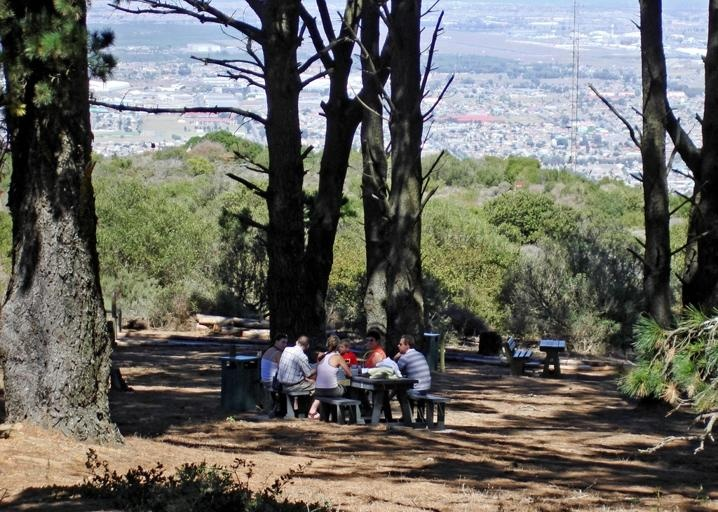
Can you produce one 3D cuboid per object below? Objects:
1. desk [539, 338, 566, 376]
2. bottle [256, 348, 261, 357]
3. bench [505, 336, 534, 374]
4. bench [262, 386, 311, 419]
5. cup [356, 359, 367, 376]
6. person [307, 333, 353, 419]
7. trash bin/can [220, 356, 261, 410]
[{"bbox_3d":[5.440,2.824,36.195,0.617,1.040,2.257,3,5,9],"label":"desk"},{"bbox_3d":[-2.482,2.366,31.003,0.148,0.289,0.159,1,5,0],"label":"bottle"},{"bbox_3d":[4.383,2.784,35.542,0.717,0.996,0.696,2,5,-3],"label":"bench"},{"bbox_3d":[-1.392,3.174,27.756,0.945,0.681,0.533,-12,-25,43],"label":"bench"},{"bbox_3d":[0.030,2.522,28.376,0.205,0.463,0.228,2,-1,7],"label":"cup"},{"bbox_3d":[-0.597,2.646,27.697,0.730,1.900,0.934,8,4,13],"label":"person"},{"bbox_3d":[-2.597,2.811,28.287,0.748,1.141,0.859,-1,-12,22],"label":"trash bin/can"}]
